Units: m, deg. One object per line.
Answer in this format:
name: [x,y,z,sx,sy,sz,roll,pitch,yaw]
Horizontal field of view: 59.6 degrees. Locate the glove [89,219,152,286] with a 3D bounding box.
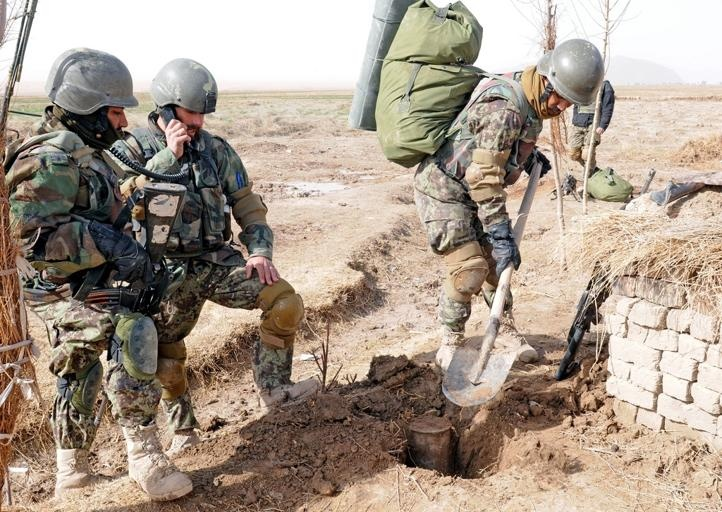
glove: [-1.680,-0.039,4.513,0.461,0.191,0.261,42,-5,-24]

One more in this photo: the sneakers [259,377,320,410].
sneakers: [-0.606,1.170,5.414,0.404,0.136,0.298,-10,5,-40]

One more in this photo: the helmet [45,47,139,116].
helmet: [-1.938,-1.249,4.516,0.605,0.469,0.381,-4,16,-22]

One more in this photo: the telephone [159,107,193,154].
telephone: [-1.447,-0.990,4.969,0.273,0.352,0.140,-4,14,5]

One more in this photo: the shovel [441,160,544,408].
shovel: [1.060,0.413,5.325,0.555,1.698,1.269,7,15,20]

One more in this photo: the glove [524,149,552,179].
glove: [1.589,-0.842,5.915,0.309,0.278,0.100,21,-7,-25]

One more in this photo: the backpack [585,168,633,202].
backpack: [4.265,-1.163,10.960,0.709,0.376,0.941,7,20,3]
